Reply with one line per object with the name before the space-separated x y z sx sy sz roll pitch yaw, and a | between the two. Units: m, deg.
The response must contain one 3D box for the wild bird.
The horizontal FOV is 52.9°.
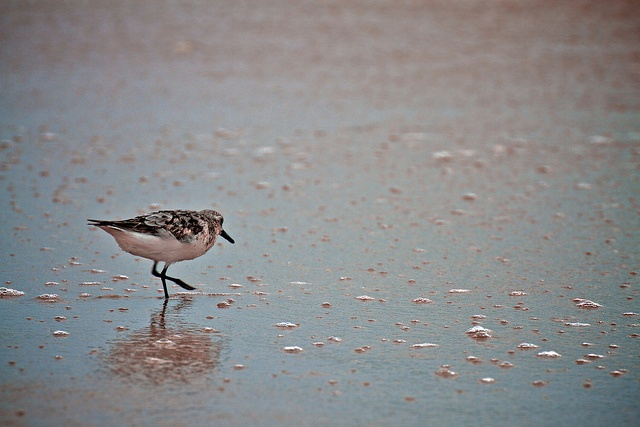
wild bird | -1.298 0.212 4.994 1.118 0.478 0.393 6 84 -37
